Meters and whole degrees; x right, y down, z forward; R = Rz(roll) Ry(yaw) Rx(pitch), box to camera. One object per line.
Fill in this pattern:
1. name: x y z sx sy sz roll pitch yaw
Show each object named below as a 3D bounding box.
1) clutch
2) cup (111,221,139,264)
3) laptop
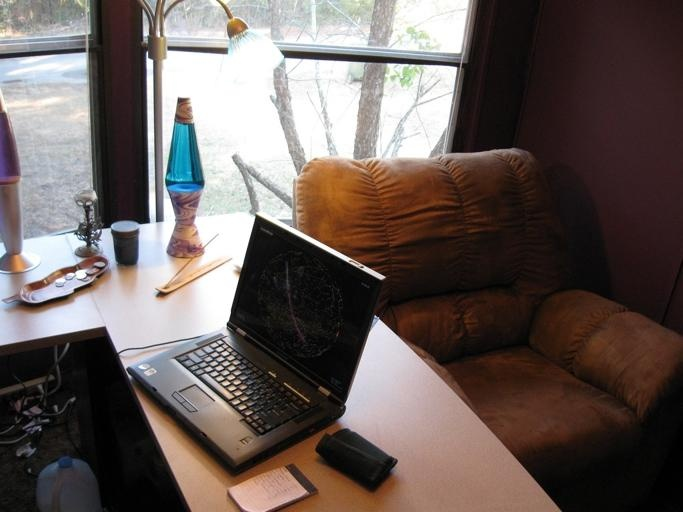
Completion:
1. clutch: 0.037 0.458 1.216 0.131 0.055 0.112 30 37 27
2. cup: -0.751 -0.042 1.819 0.087 0.136 0.106 12 25 3
3. laptop: -0.227 0.189 1.331 0.498 0.441 0.418 20 28 35
